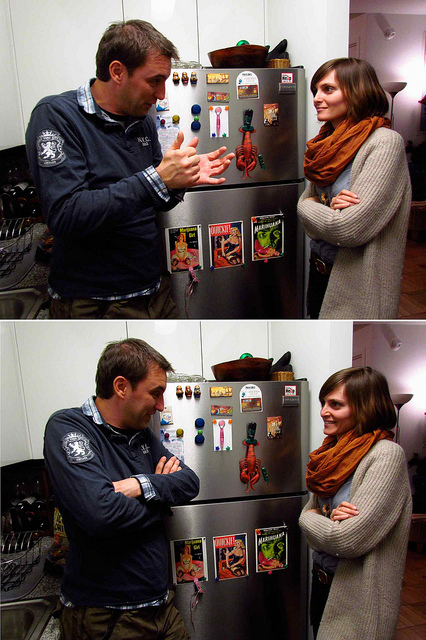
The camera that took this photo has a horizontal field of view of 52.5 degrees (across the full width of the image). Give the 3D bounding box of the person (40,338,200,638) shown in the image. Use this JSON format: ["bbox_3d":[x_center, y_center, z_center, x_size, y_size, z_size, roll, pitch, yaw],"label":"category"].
[{"bbox_3d":[-0.226,0.542,1.173,0.282,0.922,0.384,8,19,37],"label":"person"}]

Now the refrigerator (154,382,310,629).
[{"bbox_3d":[0.086,0.690,1.897,0.535,1.229,0.612,-3,14,-1],"label":"refrigerator"}]
